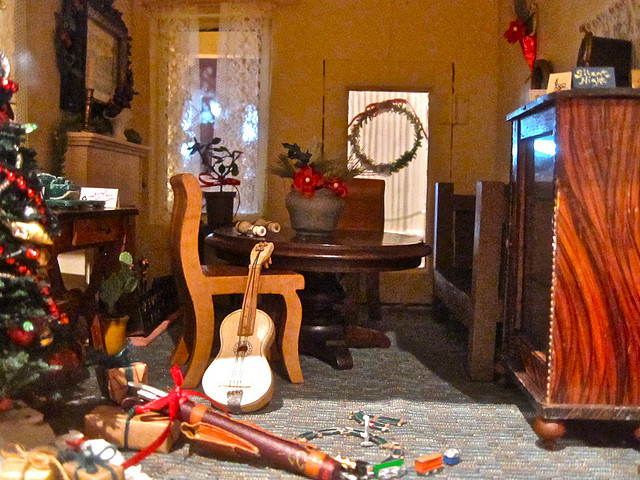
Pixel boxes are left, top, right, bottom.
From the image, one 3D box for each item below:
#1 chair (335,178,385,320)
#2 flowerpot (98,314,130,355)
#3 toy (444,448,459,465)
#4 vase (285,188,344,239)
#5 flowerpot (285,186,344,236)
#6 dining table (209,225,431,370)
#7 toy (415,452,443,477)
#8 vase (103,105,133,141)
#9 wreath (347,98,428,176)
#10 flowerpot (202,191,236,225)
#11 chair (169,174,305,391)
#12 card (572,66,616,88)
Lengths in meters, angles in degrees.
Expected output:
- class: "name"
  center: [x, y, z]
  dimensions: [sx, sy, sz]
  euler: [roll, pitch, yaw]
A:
- class: "chair"
  center: [0.292, 0.057, 4.617]
  dimensions: [0.539, 1.053, 0.657]
  euler: [-5, 24, -4]
- class: "flowerpot"
  center: [-1.305, 0.611, 3.499]
  dimensions: [0.230, 0.249, 0.213]
  euler: [1, -5, -21]
- class: "toy"
  center: [0.573, 0.950, 2.341]
  dimensions: [0.046, 0.052, 0.060]
  euler: [-3, -12, 33]
- class: "vase"
  center: [-0.041, -0.158, 3.501]
  dimensions: [0.325, 0.275, 0.330]
  euler: [1, 1, -2]
- class: "flowerpot"
  center: [-0.042, -0.207, 3.523]
  dimensions: [0.281, 0.319, 0.330]
  euler: [2, 7, -10]
- class: "dining table"
  center: [-0.006, 0.363, 3.708]
  dimensions: [1.439, 0.832, 1.411]
  euler: [1, 7, 7]
- class: "toy"
  center: [0.462, 0.954, 2.277]
  dimensions: [0.112, 0.067, 0.060]
  euler: [-8, 7, -27]
- class: "vase"
  center: [-1.710, -0.996, 4.634]
  dimensions: [0.273, 0.283, 0.275]
  euler: [-2, 5, -1]
- class: "wreath"
  center: [0.657, -1.024, 5.275]
  dimensions: [0.759, 0.747, 0.152]
  euler: [2, 8, 8]
- class: "flowerpot"
  center: [-0.902, -0.297, 4.800]
  dimensions: [0.273, 0.288, 0.273]
  euler: [0, 4, -11]
- class: "chair"
  center: [-0.508, 0.213, 3.182]
  dimensions: [0.753, 1.190, 0.588]
  euler: [-1, 8, -17]
- class: "card"
  center: [1.274, -0.762, 2.508]
  dimensions: [0.169, 0.105, 0.018]
  euler: [0, -1, 3]
